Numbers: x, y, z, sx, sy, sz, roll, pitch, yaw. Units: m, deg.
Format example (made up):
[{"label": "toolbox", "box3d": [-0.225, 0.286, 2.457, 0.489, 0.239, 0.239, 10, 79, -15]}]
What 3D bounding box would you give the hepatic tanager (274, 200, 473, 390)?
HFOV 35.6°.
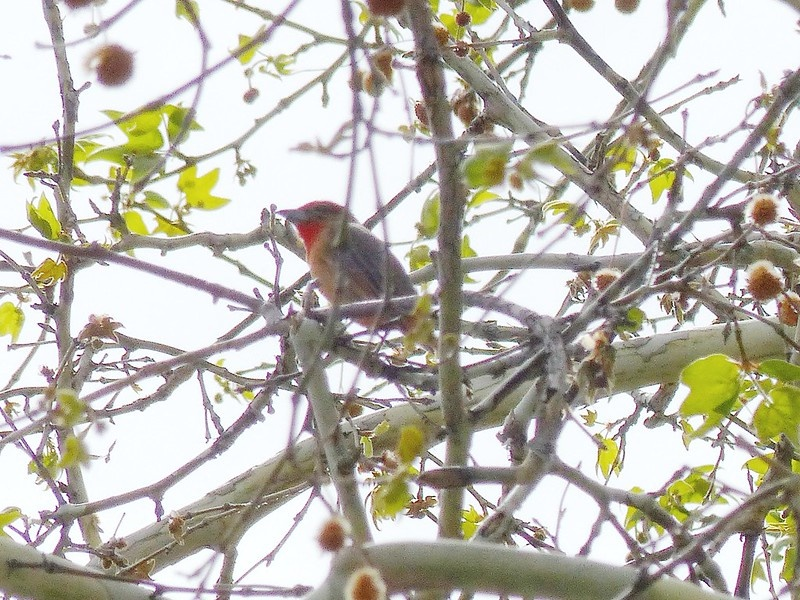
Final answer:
[{"label": "hepatic tanager", "box3d": [-0.187, -0.128, 5.409, 0.761, 0.561, 0.352, 9, -17, -31]}]
